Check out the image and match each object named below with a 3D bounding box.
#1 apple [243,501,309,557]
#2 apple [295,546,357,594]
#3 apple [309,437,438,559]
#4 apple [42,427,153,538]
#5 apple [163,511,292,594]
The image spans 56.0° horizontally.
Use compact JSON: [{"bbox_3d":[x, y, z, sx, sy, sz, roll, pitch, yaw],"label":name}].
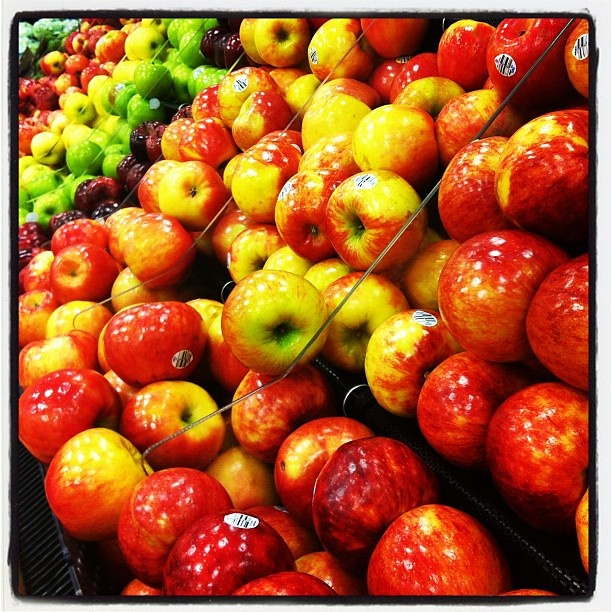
[{"bbox_3d":[-0.041,0.297,0.773,0.063,0.080,0.072,16,64,-19],"label":"apple"},{"bbox_3d":[0.027,0.320,0.697,0.048,0.062,0.056,6,98,-14],"label":"apple"},{"bbox_3d":[0.065,0.222,0.731,0.134,0.130,0.137,54,41,0],"label":"apple"},{"bbox_3d":[-0.286,0.248,0.862,0.137,0.140,0.135,-38,70,-23],"label":"apple"},{"bbox_3d":[-0.092,0.277,0.665,0.094,0.098,0.103,-13,44,17],"label":"apple"}]
